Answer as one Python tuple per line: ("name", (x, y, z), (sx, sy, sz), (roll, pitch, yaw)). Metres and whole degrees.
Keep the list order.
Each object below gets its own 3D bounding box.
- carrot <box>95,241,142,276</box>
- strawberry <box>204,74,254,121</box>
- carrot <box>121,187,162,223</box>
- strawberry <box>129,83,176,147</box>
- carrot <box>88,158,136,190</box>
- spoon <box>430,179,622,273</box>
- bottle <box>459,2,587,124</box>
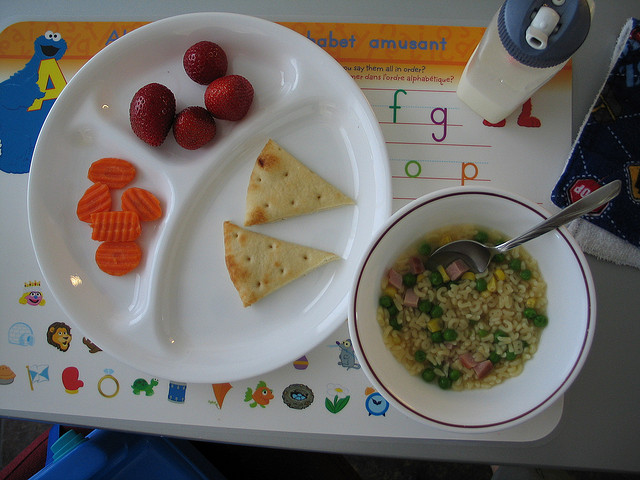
("carrot", (-0.726, 0.058, 2.050), (0.169, 0.149, 0.020), (-3, 35, -27))
("strawberry", (-0.320, -0.501, 2.010), (0.171, 0.108, 0.138), (-8, 83, 3))
("carrot", (-0.637, -0.125, 2.046), (0.148, 0.036, 0.103), (26, 87, 6))
("strawberry", (-0.586, -0.451, 2.015), (0.144, 0.130, 0.194), (36, 88, 7))
("carrot", (-0.755, -0.258, 2.065), (0.029, 0.178, 0.127), (49, 124, 25))
("spoon", (0.646, -0.010, 1.784), (0.582, 0.206, 0.128), (-20, 83, 2))
("bottle", (0.665, -0.572, 1.842), (0.345, 0.403, 0.292), (20, 86, 6))
